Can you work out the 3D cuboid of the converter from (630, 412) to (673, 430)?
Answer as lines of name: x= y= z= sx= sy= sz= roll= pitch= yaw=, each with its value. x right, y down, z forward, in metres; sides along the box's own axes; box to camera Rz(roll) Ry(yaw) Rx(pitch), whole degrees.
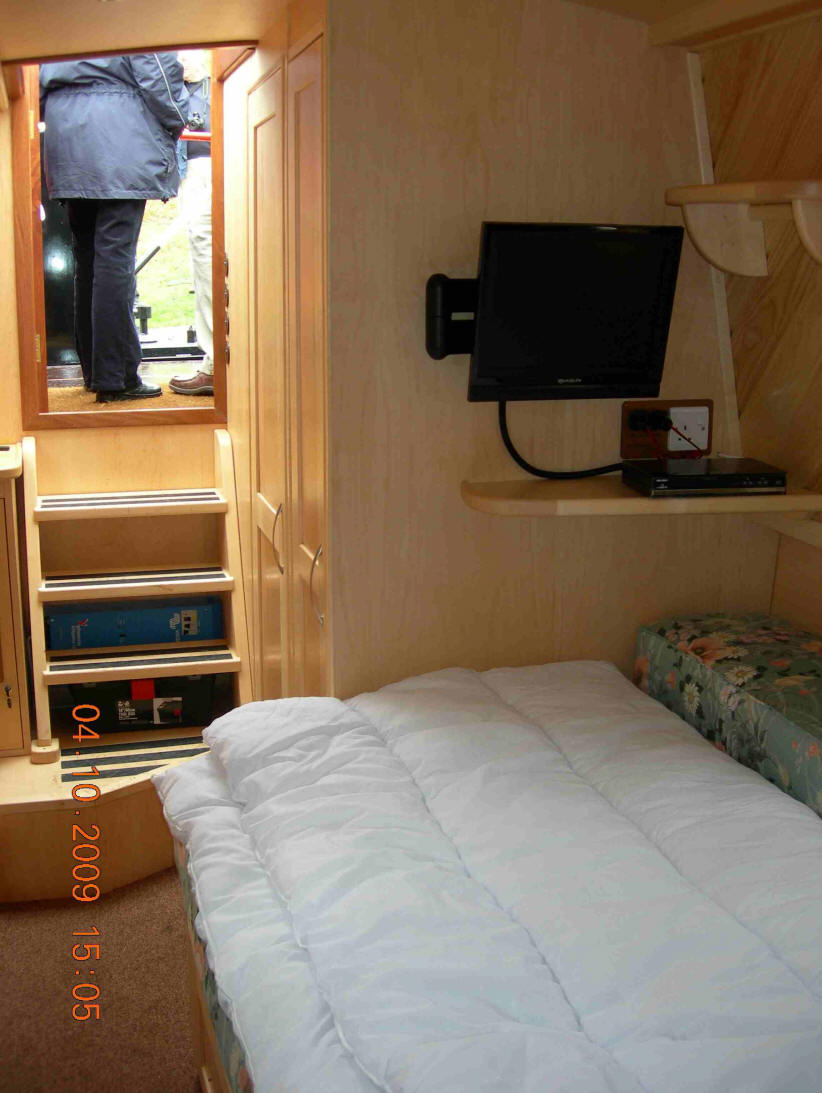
converter: x=0.493 y=-0.260 z=1.746 sx=0.068 sy=0.043 sz=0.026 roll=3 pitch=5 yaw=2

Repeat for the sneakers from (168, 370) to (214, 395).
sneakers: x=-0.737 y=-0.563 z=2.908 sx=0.161 sy=0.087 sz=0.063 roll=4 pitch=10 yaw=-10

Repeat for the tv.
tv: x=0.246 y=-0.440 z=1.562 sx=0.325 sy=0.252 sz=0.045 roll=-3 pitch=27 yaw=-14

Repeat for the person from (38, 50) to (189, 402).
person: x=-0.942 y=-1.036 z=2.785 sx=0.456 sy=1.108 sz=0.168 roll=-5 pitch=10 yaw=-26
